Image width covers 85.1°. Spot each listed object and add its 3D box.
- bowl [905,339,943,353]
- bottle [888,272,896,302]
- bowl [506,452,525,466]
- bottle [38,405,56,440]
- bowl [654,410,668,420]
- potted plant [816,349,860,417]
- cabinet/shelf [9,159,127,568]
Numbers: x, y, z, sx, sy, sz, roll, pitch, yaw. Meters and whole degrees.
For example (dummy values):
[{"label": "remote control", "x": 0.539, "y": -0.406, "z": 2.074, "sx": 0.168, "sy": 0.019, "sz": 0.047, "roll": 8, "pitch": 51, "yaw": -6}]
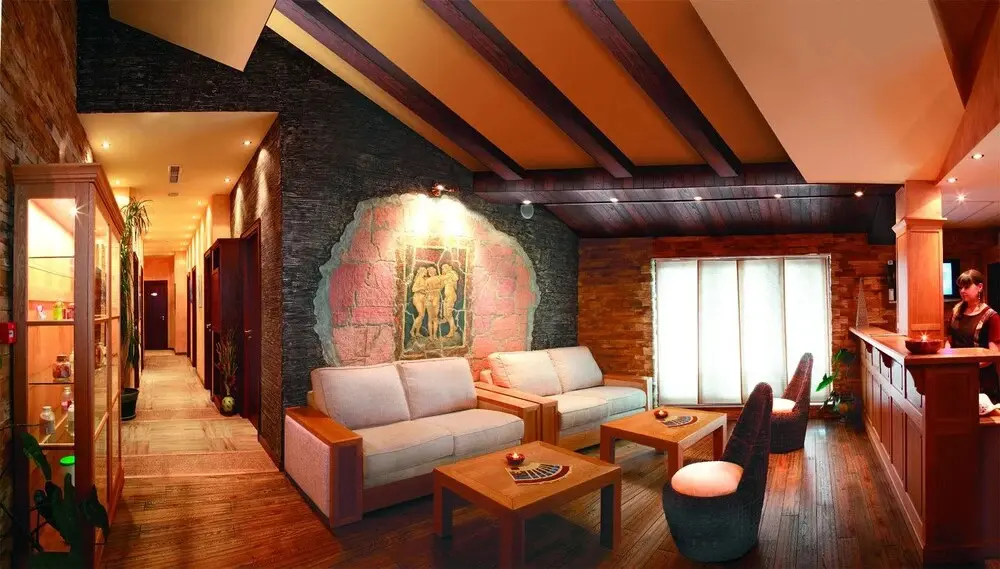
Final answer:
[{"label": "bowl", "x": 3.874, "y": 0.566, "z": 4.976, "sx": 0.253, "sy": 0.104, "sz": 0.164, "roll": -3, "pitch": -3, "yaw": 25}, {"label": "bottle", "x": 5.632, "y": 0.027, "z": 7.824, "sx": 0.164, "sy": 0.380, "sz": 0.477, "roll": -1, "pitch": -5, "yaw": 36}, {"label": "bowl", "x": 0.146, "y": 1.683, "z": 5.236, "sx": 0.131, "sy": 0.046, "sz": 0.123, "roll": 0, "pitch": 2, "yaw": 0}, {"label": "bottle", "x": -3.678, "y": 1.111, "z": 4.428, "sx": 0.098, "sy": 0.258, "sz": 0.074, "roll": -1, "pitch": -3, "yaw": -36}, {"label": "bowl", "x": 1.872, "y": 1.523, "z": 6.350, "sx": 0.117, "sy": 0.061, "sz": 0.103, "roll": -3, "pitch": 1, "yaw": -1}, {"label": "potted plant", "x": 4.901, "y": 1.428, "z": 7.885, "sx": 0.523, "sy": 0.695, "sz": 0.626, "roll": -4, "pitch": -3, "yaw": 29}, {"label": "cabinet/shelf", "x": -3.655, "y": 0.756, "z": 4.632, "sx": 0.730, "sy": 3.428, "sz": 1.260, "roll": -1, "pitch": -3, "yaw": -34}]
